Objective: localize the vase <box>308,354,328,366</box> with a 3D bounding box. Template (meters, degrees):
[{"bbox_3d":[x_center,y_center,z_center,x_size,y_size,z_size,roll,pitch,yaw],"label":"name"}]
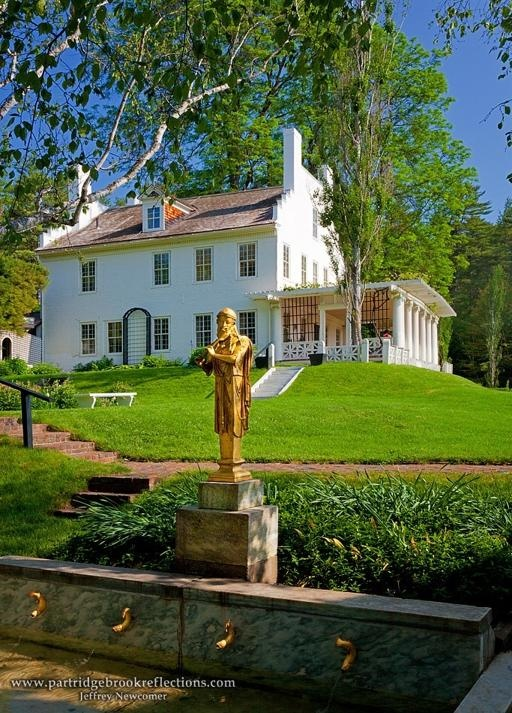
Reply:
[{"bbox_3d":[2.127,0.081,25.788,0.540,0.323,0.358,-3,-4,14],"label":"vase"}]

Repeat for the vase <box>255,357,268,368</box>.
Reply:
[{"bbox_3d":[0.196,0.193,26.490,0.377,0.344,0.199,-4,-12,27],"label":"vase"}]

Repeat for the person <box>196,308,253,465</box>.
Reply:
[{"bbox_3d":[-0.203,0.215,5.668,0.417,1.166,0.553,-9,8,-1],"label":"person"}]
